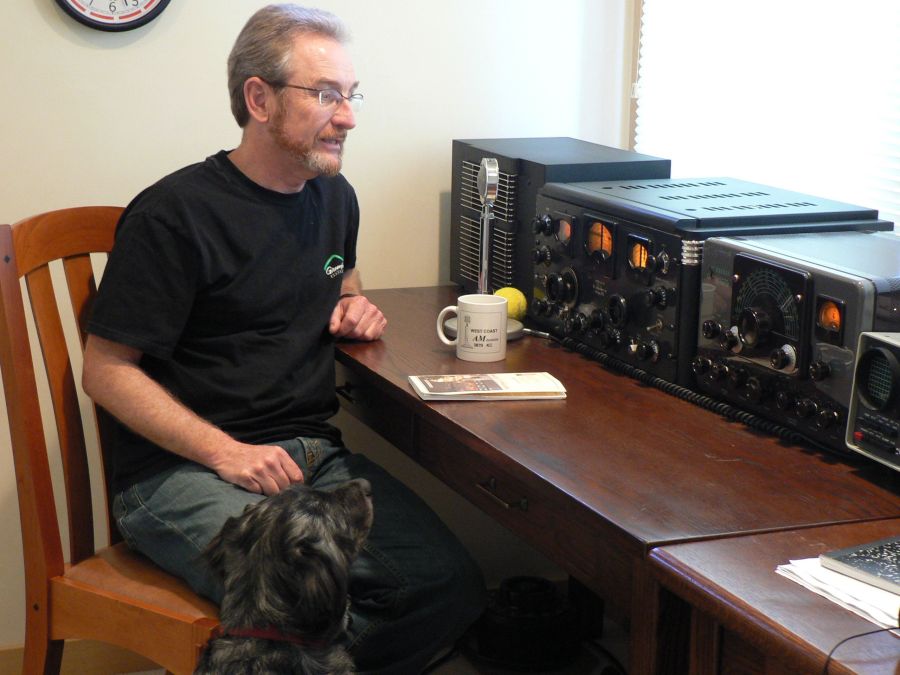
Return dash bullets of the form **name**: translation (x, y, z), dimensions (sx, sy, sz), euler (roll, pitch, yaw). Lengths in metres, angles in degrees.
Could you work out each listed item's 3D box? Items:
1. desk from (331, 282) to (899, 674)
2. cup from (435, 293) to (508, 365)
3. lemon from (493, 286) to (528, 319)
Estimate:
- **desk**: translation (0.275, 0.250, 1.420), dimensions (0.508, 0.250, 1.304), euler (-13, 19, -31)
- **cup**: translation (0.051, -0.025, 1.777), dimensions (0.173, 0.149, 0.120), euler (5, 11, 20)
- **lemon**: translation (0.168, -0.093, 2.018), dimensions (0.082, 0.089, 0.087), euler (-1, 14, -7)
